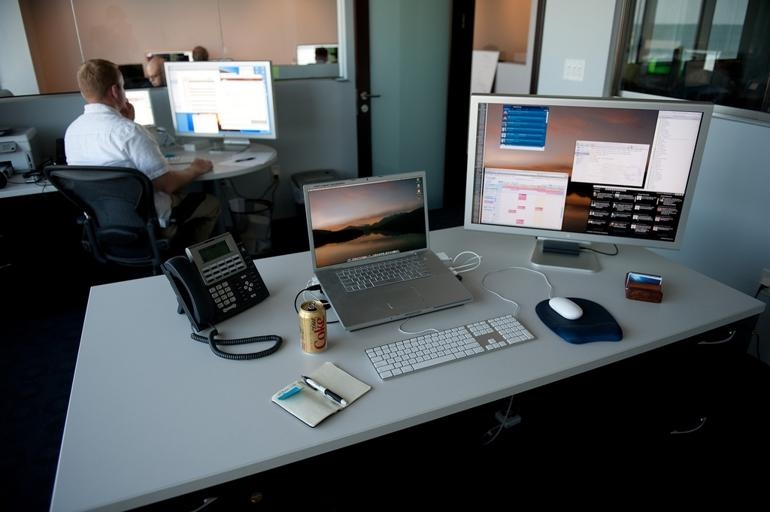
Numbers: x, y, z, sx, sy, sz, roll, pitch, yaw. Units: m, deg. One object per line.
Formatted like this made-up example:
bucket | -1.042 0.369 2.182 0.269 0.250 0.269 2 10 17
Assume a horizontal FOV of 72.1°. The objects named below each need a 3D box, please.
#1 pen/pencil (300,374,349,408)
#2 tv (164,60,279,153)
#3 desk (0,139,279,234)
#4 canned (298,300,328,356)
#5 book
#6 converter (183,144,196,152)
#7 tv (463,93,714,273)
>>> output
pen/pencil | -0.213 0.476 1.861 0.148 0.023 0.021 31 75 34
tv | -1.223 -1.113 3.922 0.821 0.546 0.225 1 32 1
desk | -1.682 -0.461 3.478 0.668 0.403 0.640 0 30 -3
canned | -0.271 0.273 1.984 0.117 0.200 0.116 14 31 23
book | -0.223 0.480 1.867 0.305 0.083 0.191 -19 32 -31
converter | -1.462 -0.817 3.958 0.094 0.042 0.066 6 40 3
tv | 0.863 -0.322 2.338 1.048 0.754 0.293 5 26 10
